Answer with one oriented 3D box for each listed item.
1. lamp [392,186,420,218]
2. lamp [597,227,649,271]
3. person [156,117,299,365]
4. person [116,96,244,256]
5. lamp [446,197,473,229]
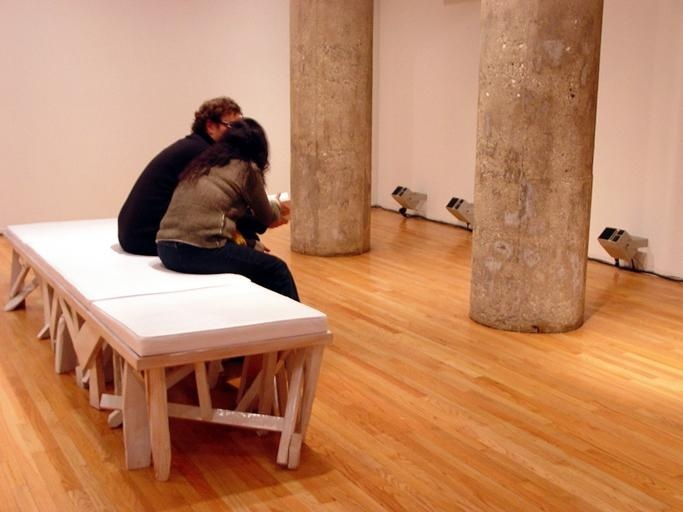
[{"bbox_3d":[0.919,-0.760,7.388,0.367,0.302,0.504,23,-11,-17],"label":"lamp"},{"bbox_3d":[2.624,-0.097,5.073,0.371,0.496,0.348,-20,18,-20],"label":"lamp"},{"bbox_3d":[-0.573,-0.086,2.942,0.450,1.254,0.801,7,8,43],"label":"person"},{"bbox_3d":[-0.916,-0.503,3.275,0.642,0.979,0.592,-2,17,-27],"label":"person"},{"bbox_3d":[1.481,-0.534,6.676,0.247,0.360,0.476,-6,16,-23],"label":"lamp"}]
